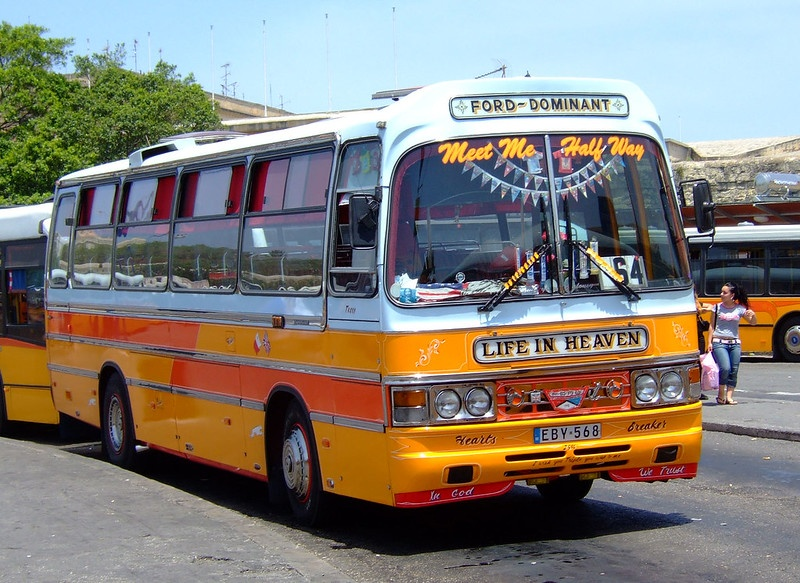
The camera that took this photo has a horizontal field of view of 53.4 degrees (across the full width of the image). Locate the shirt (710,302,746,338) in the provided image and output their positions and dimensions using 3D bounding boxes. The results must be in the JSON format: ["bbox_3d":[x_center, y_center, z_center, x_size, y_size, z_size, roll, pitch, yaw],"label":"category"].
[{"bbox_3d":[6.054,0.514,14.658,0.670,0.711,0.381,4,5,32],"label":"shirt"}]

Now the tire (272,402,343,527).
[{"bbox_3d":[-0.875,1.617,7.578,0.385,1.438,1.159,-3,8,-27],"label":"tire"}]
